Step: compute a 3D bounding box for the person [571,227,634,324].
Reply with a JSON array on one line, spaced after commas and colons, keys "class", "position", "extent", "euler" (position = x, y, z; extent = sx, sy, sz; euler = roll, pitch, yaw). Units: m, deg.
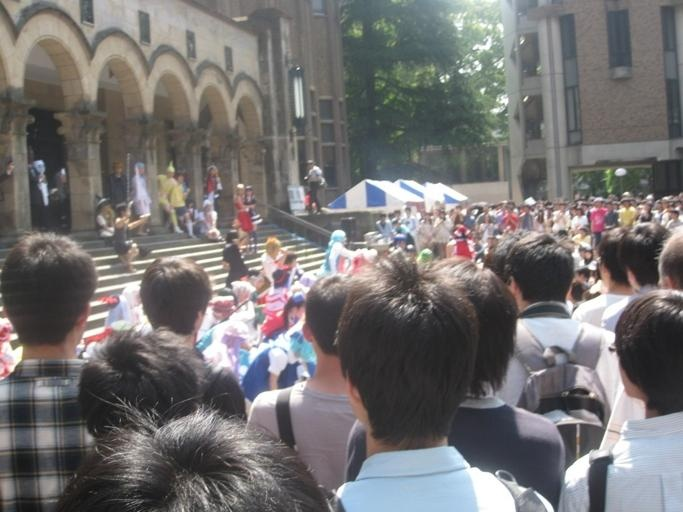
[{"class": "person", "position": [1.797, 0.244, 4.774], "extent": [0.333, 0.725, 0.714], "euler": [14, 3, 31]}]

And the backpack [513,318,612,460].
[{"class": "backpack", "position": [1.056, 0.594, 3.370], "extent": [0.409, 0.660, 0.400], "euler": [-9, -8, 7]}]

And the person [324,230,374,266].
[{"class": "person", "position": [0.105, -0.008, 13.297], "extent": [0.903, 1.278, 0.427], "euler": [-1, 44, -3]}]

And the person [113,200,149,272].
[{"class": "person", "position": [-3.887, -0.315, 13.133], "extent": [0.684, 1.231, 0.651], "euler": [-2, -1, 32]}]

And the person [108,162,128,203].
[{"class": "person", "position": [-4.778, -1.534, 14.958], "extent": [0.336, 0.893, 0.564], "euler": [-3, 3, -14]}]

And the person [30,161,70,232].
[{"class": "person", "position": [-6.444, -1.288, 15.424], "extent": [0.719, 1.450, 2.339], "euler": [-3, 3, -16]}]
